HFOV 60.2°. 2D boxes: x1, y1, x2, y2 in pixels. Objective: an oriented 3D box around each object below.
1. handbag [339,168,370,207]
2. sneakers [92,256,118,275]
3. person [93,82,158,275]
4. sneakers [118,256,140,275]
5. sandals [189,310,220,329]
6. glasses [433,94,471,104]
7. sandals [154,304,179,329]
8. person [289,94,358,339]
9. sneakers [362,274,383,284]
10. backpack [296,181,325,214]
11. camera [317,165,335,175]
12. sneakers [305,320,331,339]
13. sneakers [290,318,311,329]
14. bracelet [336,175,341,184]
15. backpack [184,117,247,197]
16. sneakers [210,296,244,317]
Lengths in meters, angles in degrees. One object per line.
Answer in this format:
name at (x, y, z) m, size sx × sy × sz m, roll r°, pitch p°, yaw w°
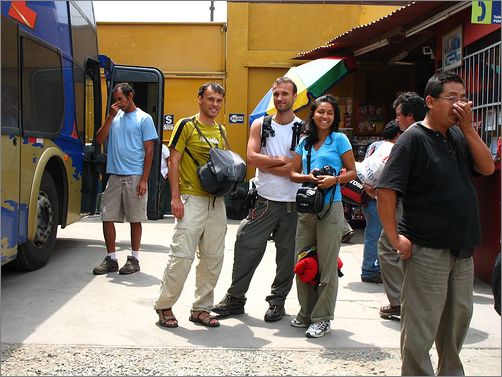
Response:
handbag at (1.347, -0.018, 5.598) m, size 0.405 × 0.448 × 0.231 m, roll 25°, pitch 2°, yaw 29°
sneakers at (-1.967, 1.042, 5.807) m, size 0.151 × 0.195 × 0.375 m, roll -1°, pitch -5°, yaw 27°
person at (-1.725, -0.149, 5.931) m, size 0.812 × 2.543 × 0.633 m, roll 1°, pitch 4°, yaw -11°
sneakers at (-1.647, 1.049, 5.827) m, size 0.129 × 0.184 × 0.311 m, roll -2°, pitch -8°, yaw 24°
sandals at (-0.470, 1.243, 4.183) m, size 0.259 × 0.113 × 0.127 m, roll 3°, pitch 2°, yaw 28°
glasses at (1.322, -0.568, 2.753) m, size 0.257 × 0.047 × 0.121 m, roll -2°, pitch 6°, yaw -32°
sandals at (-0.809, 1.232, 4.109) m, size 0.113 × 0.117 × 0.269 m, roll 1°, pitch -5°, yaw -20°
person at (0.612, 0.243, 4.069) m, size 0.624 × 2.247 × 0.507 m, roll -2°, pitch 5°, yaw -35°
sneakers at (1.628, 1.206, 5.811) m, size 0.288 × 0.131 × 0.101 m, roll 1°, pitch 3°, yaw 10°
backpack at (0.524, 0.068, 3.768) m, size 0.208 × 0.239 × 0.229 m, roll 1°, pitch -7°, yaw 24°
camera at (0.679, -0.166, 3.896) m, size 0.117 × 0.092 × 0.202 m, roll 4°, pitch 6°, yaw 26°
sneakers at (0.624, 1.289, 3.978) m, size 0.104 × 0.137 × 0.290 m, roll -4°, pitch -10°, yaw 39°
sneakers at (0.477, 1.303, 4.212) m, size 0.185 × 0.083 × 0.070 m, roll 12°, pitch 3°, yaw 7°
bracelet at (0.779, -0.086, 3.873) m, size 0.025 × 0.069 × 0.050 m, roll -6°, pitch 3°, yaw 7°
backpack at (-0.348, -0.300, 4.212) m, size 0.581 × 0.774 × 0.373 m, roll 0°, pitch 5°, yaw -18°
sneakers at (-0.233, 1.220, 4.529) m, size 0.383 × 0.278 × 0.152 m, roll 5°, pitch -2°, yaw -15°
